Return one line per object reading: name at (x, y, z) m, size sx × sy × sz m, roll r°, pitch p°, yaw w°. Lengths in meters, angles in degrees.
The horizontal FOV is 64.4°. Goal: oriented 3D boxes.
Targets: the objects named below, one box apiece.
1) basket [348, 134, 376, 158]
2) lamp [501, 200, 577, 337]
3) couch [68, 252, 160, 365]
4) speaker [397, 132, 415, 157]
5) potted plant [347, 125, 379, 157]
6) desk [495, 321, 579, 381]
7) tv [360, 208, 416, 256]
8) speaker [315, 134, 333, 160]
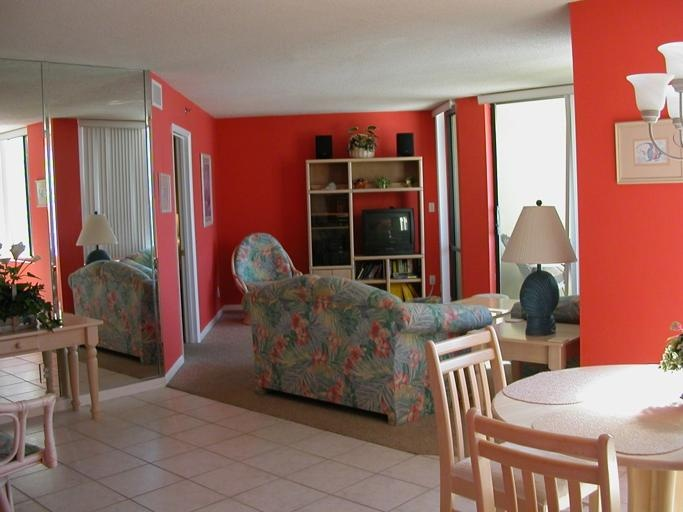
basket at (0.286, -1.524, 7.556) m, size 0.357 × 0.316 × 0.173 m, roll -2°, pitch 6°, yaw -3°
lamp at (1.453, 0.091, 4.011) m, size 0.508 × 0.981 × 0.345 m, roll 0°, pitch 6°, yaw 18°
couch at (-2.134, 0.377, 5.098) m, size 0.478 × 0.759 × 0.664 m, roll -20°, pitch -24°, yaw 37°
speaker at (0.896, -1.550, 7.609) m, size 0.235 × 0.337 × 0.190 m, roll -2°, pitch 6°, yaw -1°
potted plant at (0.299, -1.616, 7.732) m, size 0.466 × 0.449 × 0.488 m, roll 1°, pitch 1°, yaw 1°
desk at (1.352, 0.831, 4.039) m, size 0.596 × 0.440 × 0.591 m, roll 3°, pitch -17°, yaw 15°
tv at (0.671, -0.336, 7.908) m, size 1.045 × 0.901 × 0.587 m, roll 0°, pitch 0°, yaw 4°
speaker at (-0.258, -1.527, 7.629) m, size 0.215 × 0.337 × 0.126 m, roll -2°, pitch 6°, yaw -1°
